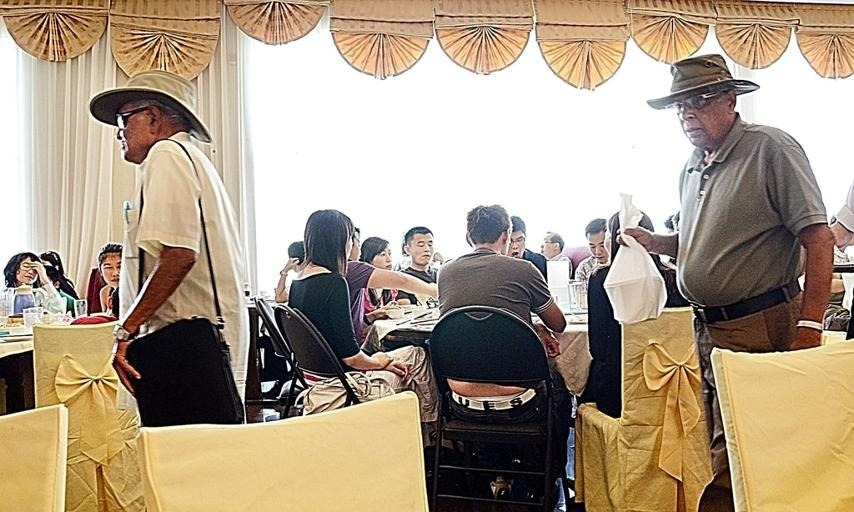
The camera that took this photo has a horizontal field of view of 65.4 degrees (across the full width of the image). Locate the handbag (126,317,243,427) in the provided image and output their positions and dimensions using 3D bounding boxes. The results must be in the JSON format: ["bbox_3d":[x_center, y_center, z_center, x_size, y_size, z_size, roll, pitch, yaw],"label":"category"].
[{"bbox_3d":[-1.111,0.532,3.047,0.405,0.533,0.305,-19,-1,-9],"label":"handbag"}]

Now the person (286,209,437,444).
[{"bbox_3d":[-0.319,0.428,4.057,0.974,1.449,0.628,-8,21,-20],"label":"person"}]

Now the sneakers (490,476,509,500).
[{"bbox_3d":[0.414,1.322,3.798,0.104,0.104,0.111,-2,-27,-3],"label":"sneakers"}]

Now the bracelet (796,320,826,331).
[{"bbox_3d":[1.715,0.311,2.987,0.102,0.062,0.098,-2,-1,25],"label":"bracelet"}]

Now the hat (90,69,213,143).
[{"bbox_3d":[-1.306,-0.765,3.310,0.491,0.196,0.404,24,-18,-32],"label":"hat"}]

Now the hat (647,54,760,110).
[{"bbox_3d":[1.305,-0.787,3.246,0.324,0.129,0.352,-10,-1,-43],"label":"hat"}]

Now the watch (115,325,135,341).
[{"bbox_3d":[-1.371,0.357,3.056,0.066,0.029,0.067,4,-12,38],"label":"watch"}]
